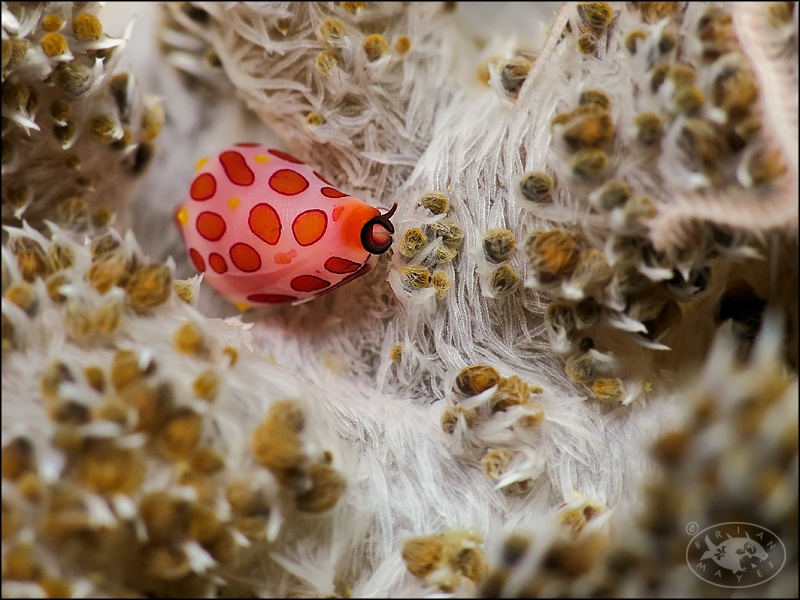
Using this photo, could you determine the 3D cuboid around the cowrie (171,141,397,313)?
[{"bbox_3d":[-0.146,-0.097,1.657,0.295,0.177,0.188,8,42,18],"label":"cowrie"}]
